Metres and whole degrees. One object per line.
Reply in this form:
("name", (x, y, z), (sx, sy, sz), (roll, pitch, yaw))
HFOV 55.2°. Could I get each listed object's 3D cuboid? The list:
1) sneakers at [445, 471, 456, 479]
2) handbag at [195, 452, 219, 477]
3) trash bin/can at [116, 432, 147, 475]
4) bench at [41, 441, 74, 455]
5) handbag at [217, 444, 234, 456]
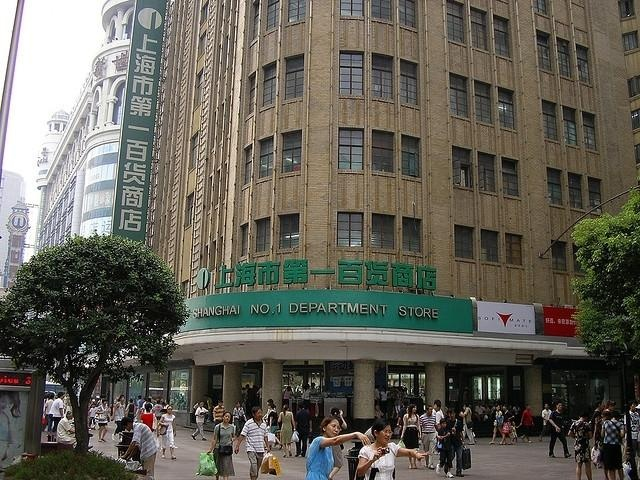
("sneakers", (4.508, 7.998, 20.938), (0.271, 0.176, 0.435), (-3, -15, 9))
("handbag", (-3.164, 6.362, 17.425), (0.491, 0.622, 0.609), (2, -15, -8))
("trash bin/can", (-5.368, 5.966, 17.278), (0.917, 1.246, 0.989), (1, -4, -30))
("bench", (-8.758, 6.954, 20.462), (1.045, 0.365, 1.400), (11, -19, -37))
("handbag", (-2.741, 5.953, 17.741), (0.506, 0.380, 0.299), (5, -14, -20))
